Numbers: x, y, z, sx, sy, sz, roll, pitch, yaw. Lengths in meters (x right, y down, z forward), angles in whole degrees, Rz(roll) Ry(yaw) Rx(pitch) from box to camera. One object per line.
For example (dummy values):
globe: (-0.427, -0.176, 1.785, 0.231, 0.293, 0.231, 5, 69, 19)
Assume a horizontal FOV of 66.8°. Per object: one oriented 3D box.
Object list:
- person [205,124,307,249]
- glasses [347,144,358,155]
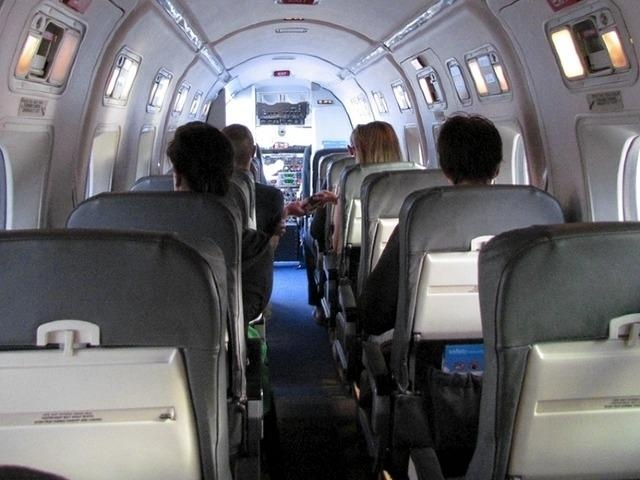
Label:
person: (-0.380, -0.443, 3.893, 0.862, 1.255, 1.017, 1, 15, 4)
glasses: (0.350, -0.933, 5.107, 0.096, 0.112, 0.125, 2, -15, -2)
